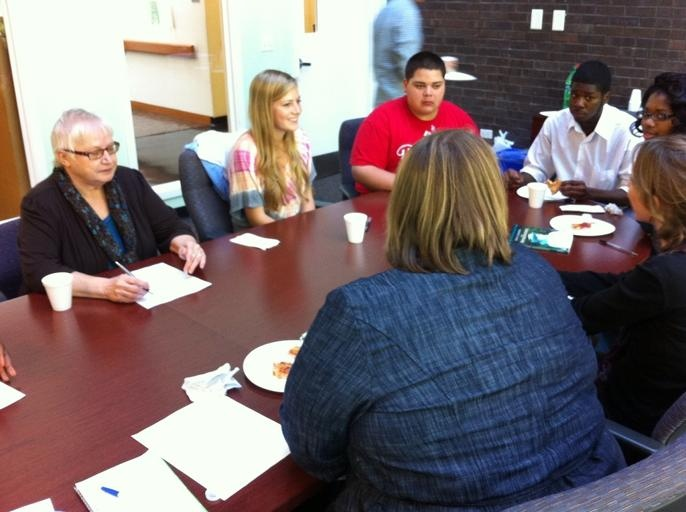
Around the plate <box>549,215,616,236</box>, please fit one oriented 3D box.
[{"bbox_3d":[1.102,-0.140,2.378,0.167,0.019,0.167,-17,28,-29],"label":"plate"}]

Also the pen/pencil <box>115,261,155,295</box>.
[{"bbox_3d":[-0.778,0.085,1.926,0.153,0.017,0.016,46,18,12],"label":"pen/pencil"}]

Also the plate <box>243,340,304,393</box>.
[{"bbox_3d":[-0.202,0.311,1.470,0.153,0.016,0.149,1,24,-1],"label":"plate"}]

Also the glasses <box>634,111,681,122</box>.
[{"bbox_3d":[1.695,-0.732,2.727,0.125,0.034,0.121,1,11,-26],"label":"glasses"}]

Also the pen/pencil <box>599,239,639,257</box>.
[{"bbox_3d":[1.171,-0.030,2.185,0.017,0.018,0.135,-37,47,-28],"label":"pen/pencil"}]

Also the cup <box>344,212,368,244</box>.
[{"bbox_3d":[0.055,-0.122,2.312,0.125,0.128,0.123,-1,20,0],"label":"cup"}]

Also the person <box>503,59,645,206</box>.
[{"bbox_3d":[1.490,-0.660,3.251,0.756,1.008,0.737,-20,25,-29],"label":"person"}]

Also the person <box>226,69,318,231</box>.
[{"bbox_3d":[-0.348,-0.540,2.843,0.570,0.914,0.483,-22,39,-39],"label":"person"}]

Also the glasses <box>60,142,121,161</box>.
[{"bbox_3d":[-1.063,-0.456,2.150,0.127,0.037,0.126,16,27,29],"label":"glasses"}]

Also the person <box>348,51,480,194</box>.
[{"bbox_3d":[0.493,-0.842,3.348,0.884,0.886,0.593,-3,28,-14],"label":"person"}]

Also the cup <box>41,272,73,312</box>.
[{"bbox_3d":[-0.960,0.119,1.800,0.122,0.119,0.125,-1,14,0],"label":"cup"}]
